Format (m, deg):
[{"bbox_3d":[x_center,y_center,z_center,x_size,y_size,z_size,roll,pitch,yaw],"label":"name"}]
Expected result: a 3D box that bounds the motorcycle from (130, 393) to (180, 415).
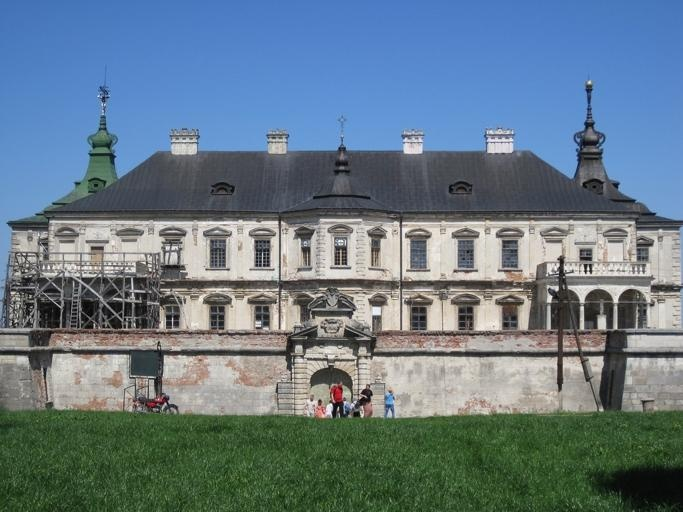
[{"bbox_3d":[-9.328,7.590,87.011,1.850,1.117,1.126,0,-5,-1],"label":"motorcycle"}]
